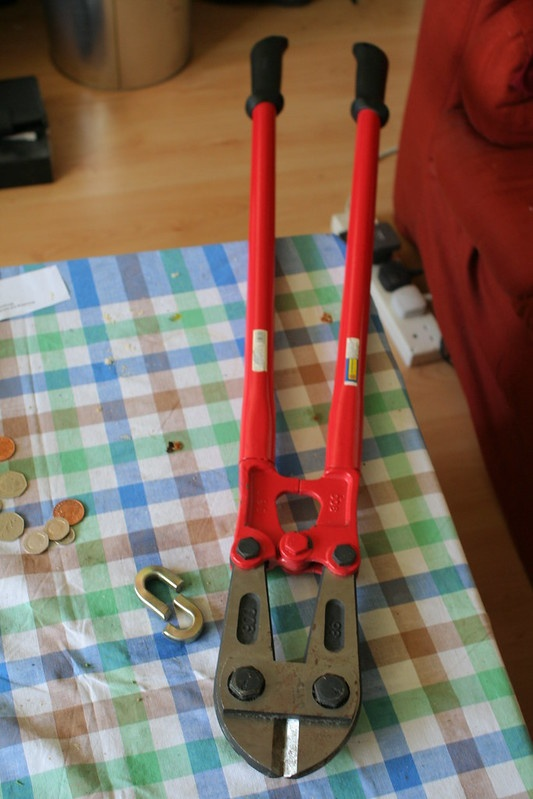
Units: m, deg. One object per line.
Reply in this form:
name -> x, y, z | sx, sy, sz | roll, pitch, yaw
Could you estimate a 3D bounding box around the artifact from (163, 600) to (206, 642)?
artifact -> -0.061, 0.165, 0.526 | 0.028, 0.018, 0.033 | 7, 44, 5
